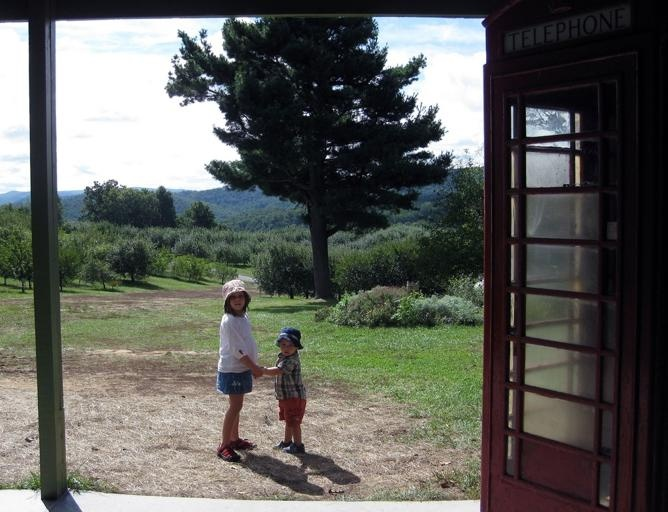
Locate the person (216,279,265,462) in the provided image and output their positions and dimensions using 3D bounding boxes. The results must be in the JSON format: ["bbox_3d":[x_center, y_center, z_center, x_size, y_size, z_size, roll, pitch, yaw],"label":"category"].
[{"bbox_3d":[-0.866,1.073,6.808,0.367,1.736,0.785,0,2,-10],"label":"person"}]

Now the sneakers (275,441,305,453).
[{"bbox_3d":[-0.428,1.865,7.314,0.300,0.138,0.116,5,-13,12],"label":"sneakers"}]

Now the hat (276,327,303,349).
[{"bbox_3d":[-0.404,0.722,6.749,0.186,0.116,0.207,8,-3,-27],"label":"hat"}]

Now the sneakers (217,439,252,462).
[{"bbox_3d":[-0.946,1.857,7.128,0.139,0.186,0.394,-1,-9,44],"label":"sneakers"}]
